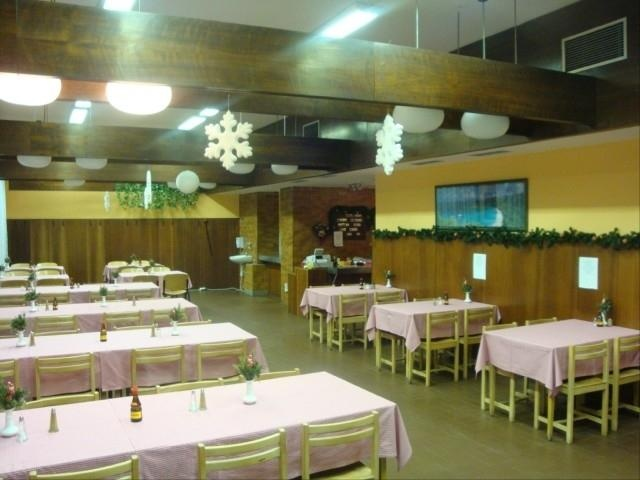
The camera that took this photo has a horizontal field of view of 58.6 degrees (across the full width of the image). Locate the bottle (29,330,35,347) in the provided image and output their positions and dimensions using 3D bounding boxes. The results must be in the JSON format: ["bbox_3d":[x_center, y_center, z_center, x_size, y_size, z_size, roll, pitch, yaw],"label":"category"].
[{"bbox_3d":[-3.390,1.161,6.710,0.054,0.119,0.318,-5,6,-26],"label":"bottle"}]

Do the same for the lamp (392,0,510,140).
[{"bbox_3d":[1.546,-2.021,6.562,1.132,1.675,2.551,1,6,22],"label":"lamp"}]

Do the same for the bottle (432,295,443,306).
[{"bbox_3d":[1.902,1.005,9.345,0.149,0.153,0.152,2,3,29],"label":"bottle"}]

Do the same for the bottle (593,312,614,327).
[{"bbox_3d":[3.770,1.082,7.647,0.191,0.111,0.151,3,3,41],"label":"bottle"}]

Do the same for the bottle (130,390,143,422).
[{"bbox_3d":[-1.596,1.374,4.928,0.103,0.277,0.402,-4,6,-18],"label":"bottle"}]

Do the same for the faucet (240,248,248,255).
[{"bbox_3d":[-2.335,0.380,17.594,0.164,0.215,0.297,-1,4,-24],"label":"faucet"}]
